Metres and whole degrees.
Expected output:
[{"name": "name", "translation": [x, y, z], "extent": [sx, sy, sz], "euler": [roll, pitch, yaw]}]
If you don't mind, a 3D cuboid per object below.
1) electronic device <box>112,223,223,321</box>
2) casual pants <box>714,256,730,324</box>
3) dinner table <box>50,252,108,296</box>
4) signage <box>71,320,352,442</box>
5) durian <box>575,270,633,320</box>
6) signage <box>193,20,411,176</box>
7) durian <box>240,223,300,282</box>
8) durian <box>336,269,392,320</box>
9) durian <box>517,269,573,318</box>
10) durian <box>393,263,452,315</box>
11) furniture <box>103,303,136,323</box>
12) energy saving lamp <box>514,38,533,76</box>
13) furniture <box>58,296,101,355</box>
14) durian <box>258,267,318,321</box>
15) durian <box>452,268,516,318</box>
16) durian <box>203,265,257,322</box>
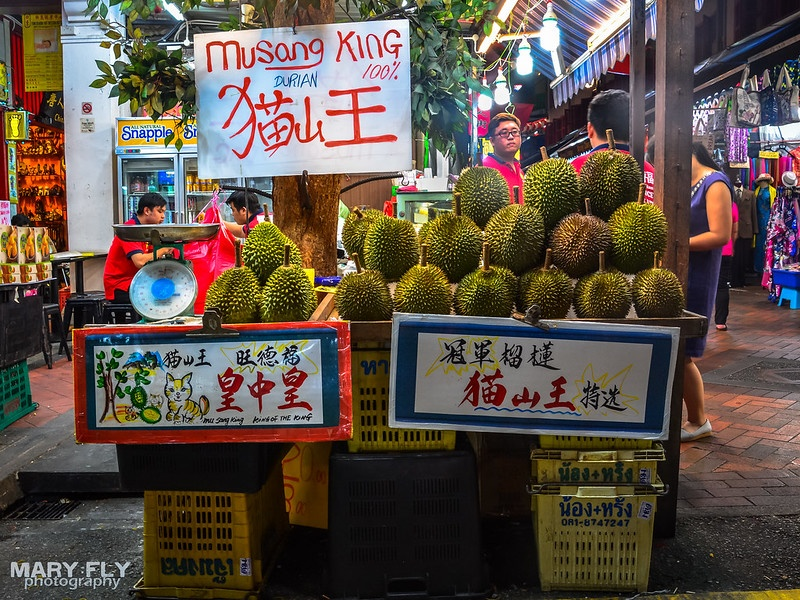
[{"name": "electronic device", "translation": [-1.188, -0.196, 3.989], "extent": [0.548, 0.405, 0.236], "euler": [-2, 1, -20]}, {"name": "casual pants", "translation": [3.755, -0.096, 8.960], "extent": [0.178, 0.846, 0.217], "euler": [6, 5, 36]}, {"name": "dinner table", "translation": [-3.920, -0.302, 9.441], "extent": [0.958, 0.520, 0.551], "euler": [2, 5, 34]}, {"name": "signage", "translation": [-0.972, 0.564, 3.970], "extent": [1.318, 0.607, 0.792], "euler": [3, -29, -21]}, {"name": "durian", "translation": [1.008, -0.010, 3.849], "extent": [0.247, 0.266, 0.199], "euler": [-7, -16, 22]}, {"name": "signage", "translation": [-0.528, -1.066, 4.150], "extent": [1.131, 0.804, 0.043], "euler": [-3, -3, 2]}, {"name": "durian", "translation": [-0.726, -0.270, 4.019], "extent": [0.213, 0.260, 0.225], "euler": [2, -2, 2]}, {"name": "durian", "translation": [-0.201, -0.034, 3.845], "extent": [0.225, 0.266, 0.215], "euler": [-17, 16, -2]}, {"name": "durian", "translation": [0.715, -0.046, 3.817], "extent": [0.213, 0.273, 0.252], "euler": [3, 5, 0]}, {"name": "durian", "translation": [0.100, -0.065, 3.827], "extent": [0.216, 0.300, 0.254], "euler": [0, 8, -7]}, {"name": "furniture", "translation": [-2.695, 0.127, 7.367], "extent": [0.211, 0.223, 0.220], "euler": [0, 1, -9]}, {"name": "energy saving lamp", "translation": [1.506, -2.920, 9.293], "extent": [0.199, 0.521, 0.202], "euler": [1, -1, 35]}, {"name": "furniture", "translation": [-3.379, 0.226, 8.187], "extent": [0.445, 0.499, 0.492], "euler": [1, 8, -5]}, {"name": "durian", "translation": [-0.549, -0.028, 3.856], "extent": [0.207, 0.283, 0.205], "euler": [5, -26, -26]}, {"name": "durian", "translation": [0.415, -0.030, 3.754], "extent": [0.250, 0.284, 0.212], "euler": [0, -2, 40]}, {"name": "durian", "translation": [-0.808, -0.031, 3.796], "extent": [0.233, 0.302, 0.254], "euler": [3, 5, -8]}]
